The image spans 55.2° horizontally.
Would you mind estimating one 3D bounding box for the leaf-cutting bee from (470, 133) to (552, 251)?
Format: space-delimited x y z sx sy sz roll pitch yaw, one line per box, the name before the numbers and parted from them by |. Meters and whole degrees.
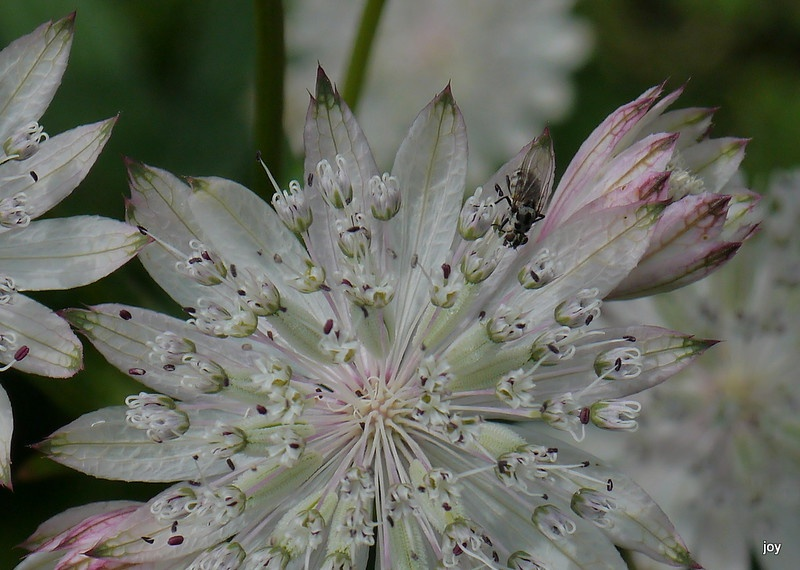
leaf-cutting bee | 0.232 -0.186 1.472 0.150 0.062 0.210 18 92 -34
